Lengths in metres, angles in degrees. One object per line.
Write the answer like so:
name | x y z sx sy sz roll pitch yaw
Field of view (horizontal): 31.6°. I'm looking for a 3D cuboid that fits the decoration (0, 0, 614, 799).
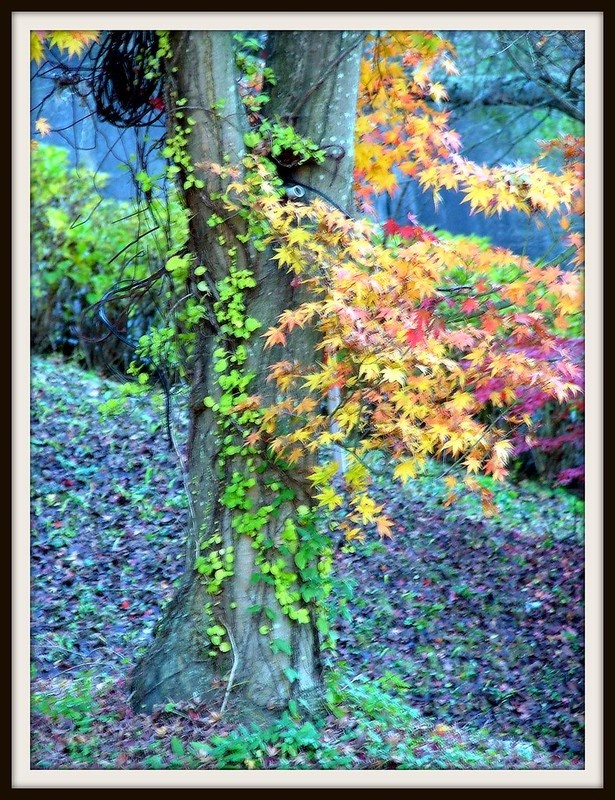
decoration | -0.121 -0.087 5.825 2.862 3.470 3.765 0 8 -15
